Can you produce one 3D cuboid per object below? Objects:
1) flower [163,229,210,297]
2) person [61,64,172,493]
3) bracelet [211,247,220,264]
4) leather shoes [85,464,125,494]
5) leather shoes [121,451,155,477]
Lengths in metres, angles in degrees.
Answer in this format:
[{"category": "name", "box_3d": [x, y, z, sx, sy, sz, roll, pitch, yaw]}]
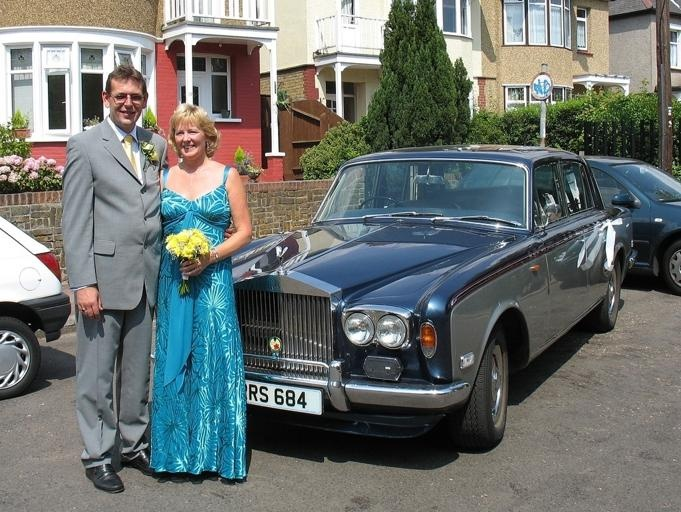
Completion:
[{"category": "flower", "box_3d": [-0.996, 0.022, 3.886, 0.327, 0.483, 0.353, 6, 2, 29]}, {"category": "person", "box_3d": [-1.521, 0.126, 4.035, 0.700, 2.868, 0.411, -6, 8, -38]}, {"category": "bracelet", "box_3d": [-0.852, 0.000, 3.963, 0.019, 0.086, 0.075, 12, -5, 37]}, {"category": "leather shoes", "box_3d": [-1.598, 1.517, 3.986, 0.116, 0.155, 0.353, -7, 8, -38]}, {"category": "leather shoes", "box_3d": [-1.463, 1.488, 4.230, 0.284, 0.155, 0.133, 7, 7, 26]}]
